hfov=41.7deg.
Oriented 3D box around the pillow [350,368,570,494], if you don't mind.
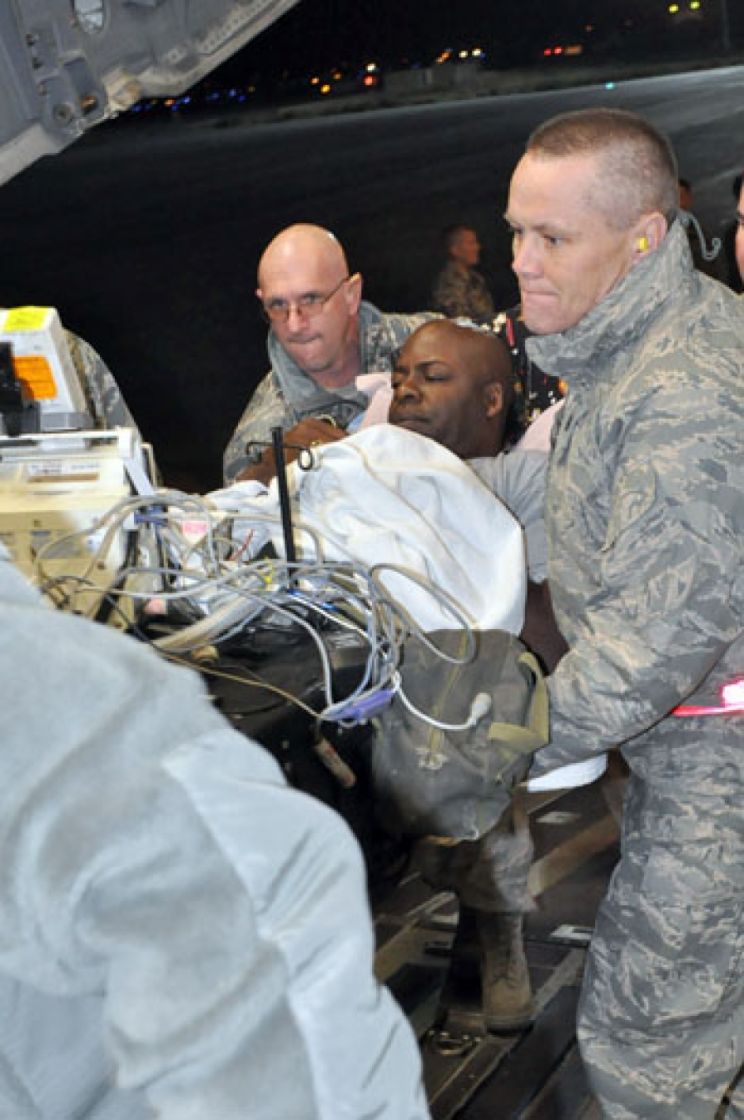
[{"bbox_3d":[0.136,-0.215,1.611,0.296,0.244,0.226,2,3,-3],"label":"pillow"}]
